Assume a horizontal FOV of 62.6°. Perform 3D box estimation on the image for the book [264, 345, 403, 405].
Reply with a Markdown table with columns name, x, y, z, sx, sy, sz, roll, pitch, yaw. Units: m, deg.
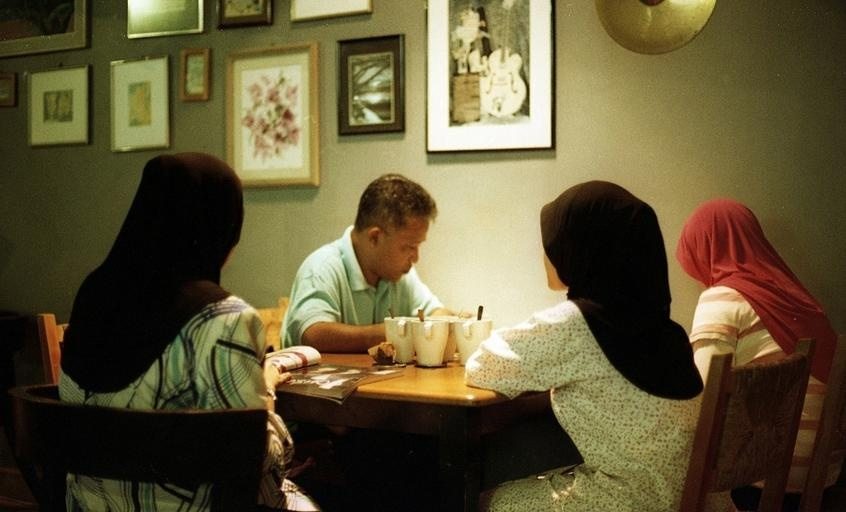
| name | x | y | z | sx | sy | sz | roll | pitch | yaw |
| --- | --- | --- | --- | --- | --- | --- | --- | --- | --- |
| book | -0.420 | 0.501 | 2.953 | 0.364 | 0.111 | 0.278 | -2 | -2 | 32 |

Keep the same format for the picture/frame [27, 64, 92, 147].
| name | x | y | z | sx | sy | sz | roll | pitch | yaw |
| --- | --- | --- | --- | --- | --- | --- | --- | --- | --- |
| picture/frame | -2.414 | -0.989 | 4.610 | 0.530 | 0.532 | 0.039 | 1 | 2 | 20 |

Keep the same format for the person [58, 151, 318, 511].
| name | x | y | z | sx | sy | sz | roll | pitch | yaw |
| --- | --- | --- | --- | --- | --- | --- | --- | --- | --- |
| person | -1.169 | 0.246 | 3.315 | 1.152 | 1.724 | 1.273 | 4 | 4 | 34 |
